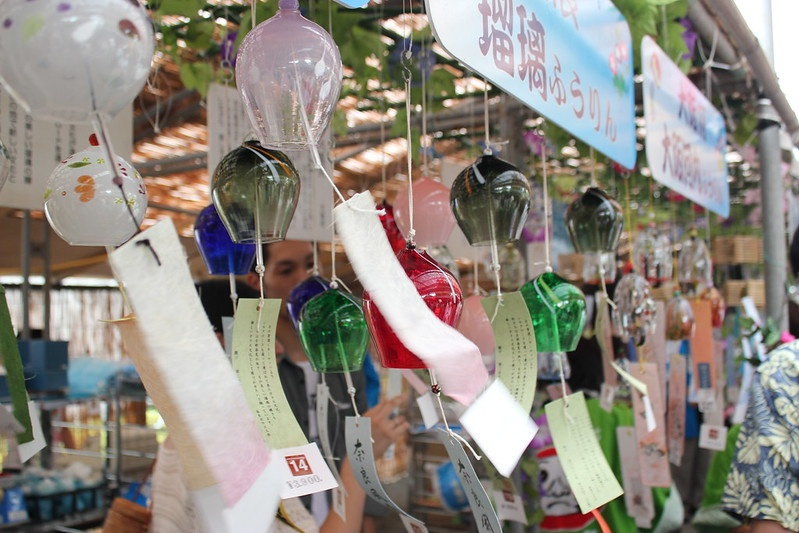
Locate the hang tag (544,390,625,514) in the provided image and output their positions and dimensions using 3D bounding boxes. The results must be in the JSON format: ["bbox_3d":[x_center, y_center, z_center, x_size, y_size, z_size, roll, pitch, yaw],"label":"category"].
[{"bbox_3d":[0.550,0.591,2.596,0.199,0.434,0.085,-15,-5,-37],"label":"hang tag"}]

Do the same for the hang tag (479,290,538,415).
[{"bbox_3d":[0.338,0.258,2.486,0.153,0.070,0.399,5,45,-2],"label":"hang tag"}]

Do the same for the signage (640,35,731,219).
[{"bbox_3d":[1.130,-0.522,3.213,0.059,0.622,0.775,-5,2,39],"label":"signage"}]
